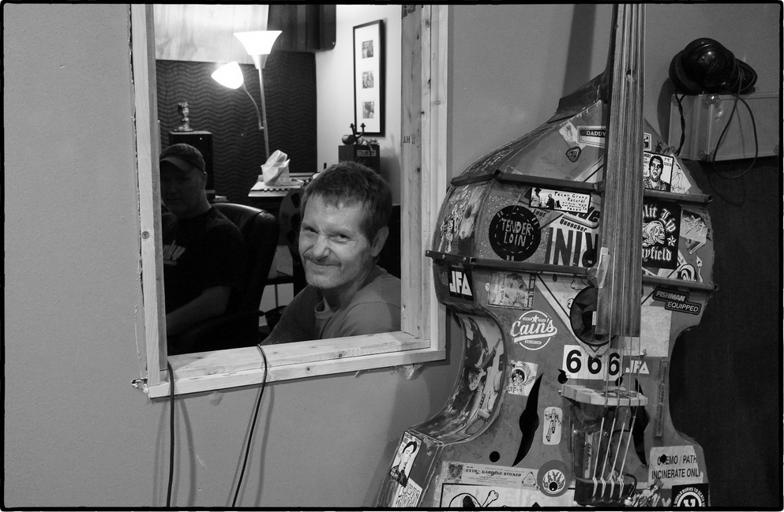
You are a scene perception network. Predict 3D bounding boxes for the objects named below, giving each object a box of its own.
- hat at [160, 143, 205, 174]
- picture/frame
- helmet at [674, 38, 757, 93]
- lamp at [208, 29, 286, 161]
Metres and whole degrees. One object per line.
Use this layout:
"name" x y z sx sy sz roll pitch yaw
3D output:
"hat" -0.990 -0.475 3.678 0.138 0.106 0.192 10 -17 13
"picture/frame" -0.133 -1.050 4.618 0.022 0.655 0.358 -6 13 -28
"helmet" 1.217 -0.703 2.939 0.266 0.191 0.164 17 10 -2
"lamp" -0.918 -1.033 4.863 0.415 0.789 0.973 3 2 -14
